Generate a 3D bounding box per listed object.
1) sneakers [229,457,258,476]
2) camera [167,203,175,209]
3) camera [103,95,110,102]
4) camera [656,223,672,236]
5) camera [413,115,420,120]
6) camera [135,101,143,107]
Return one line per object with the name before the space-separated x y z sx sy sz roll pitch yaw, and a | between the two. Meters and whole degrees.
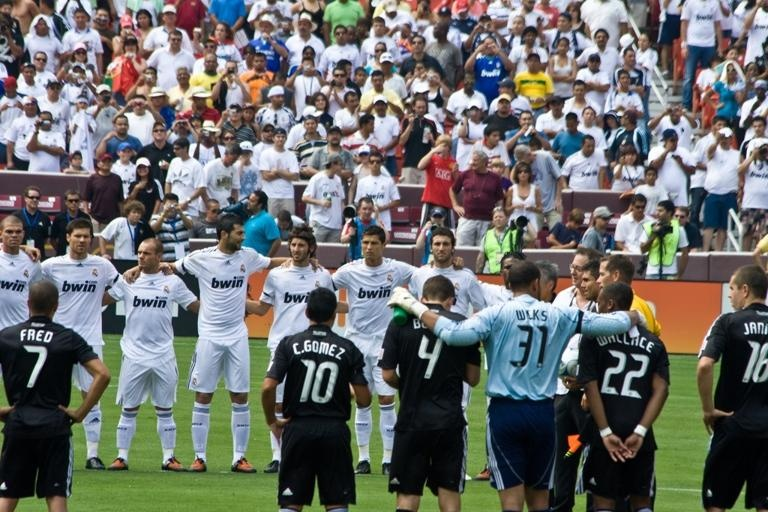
sneakers | -2.465 3.657 31.363 0.516 0.252 0.199 -3 -2 14
camera | -4.377 -1.038 36.946 0.096 0.074 0.109 1 10 27
camera | -6.261 -3.543 40.517 0.135 0.111 0.139 4 -3 -30
camera | 5.908 -0.569 38.321 0.275 0.235 0.281 -21 14 -39
camera | 0.671 -3.088 39.944 0.073 0.109 0.028 5 -4 23
camera | -5.453 -3.392 40.079 0.169 0.098 0.131 0 -4 -8
